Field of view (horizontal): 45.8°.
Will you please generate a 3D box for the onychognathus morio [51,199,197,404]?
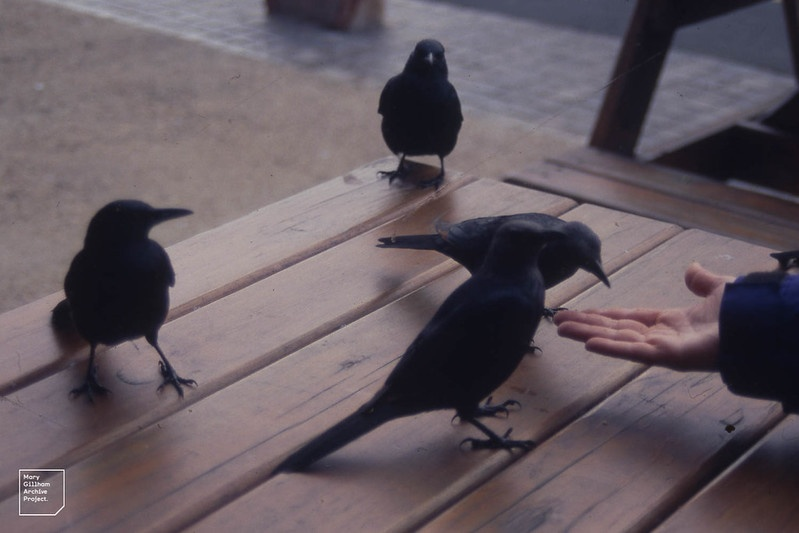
[{"bbox_3d":[-0.479,0.060,1.700,0.206,0.409,0.152,-16,43,-24],"label":"onychognathus morio"}]
